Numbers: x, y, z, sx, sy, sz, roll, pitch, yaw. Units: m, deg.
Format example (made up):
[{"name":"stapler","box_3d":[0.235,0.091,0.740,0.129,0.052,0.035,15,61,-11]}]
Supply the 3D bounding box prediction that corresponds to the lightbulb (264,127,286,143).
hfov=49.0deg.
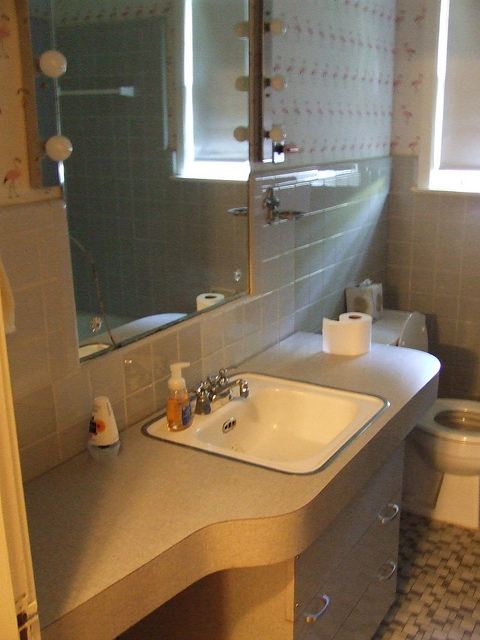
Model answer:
[{"name":"lightbulb","box_3d":[0.117,-0.626,1.771,0.059,0.042,0.045,8,15,19]}]

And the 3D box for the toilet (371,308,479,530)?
[{"name":"toilet","box_3d":[0.876,0.391,2.684,0.663,0.948,0.701,10,21,24]}]

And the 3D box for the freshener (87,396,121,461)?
[{"name":"freshener","box_3d":[-0.324,0.244,1.216,0.077,0.151,0.052,-4,14,-5]}]

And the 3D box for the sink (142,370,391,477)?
[{"name":"sink","box_3d":[0.141,0.282,1.495,0.366,0.159,0.380,6,17,34]}]

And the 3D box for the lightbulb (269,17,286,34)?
[{"name":"lightbulb","box_3d":[0.119,-0.964,1.732,0.051,0.043,0.070,-6,14,-15]}]

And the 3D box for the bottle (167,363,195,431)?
[{"name":"bottle","box_3d":[-0.162,0.178,1.396,0.069,0.186,0.180,-4,14,-6]}]

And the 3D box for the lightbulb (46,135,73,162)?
[{"name":"lightbulb","box_3d":[-0.349,-0.335,1.022,0.040,0.051,0.076,-3,13,-5]}]

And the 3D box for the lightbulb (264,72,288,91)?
[{"name":"lightbulb","box_3d":[0.132,-0.802,1.778,0.095,0.054,0.050,15,14,36]}]

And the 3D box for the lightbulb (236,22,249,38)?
[{"name":"lightbulb","box_3d":[0.005,-0.900,1.632,0.043,0.030,0.036,-29,56,-23]}]

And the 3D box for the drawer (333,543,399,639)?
[{"name":"drawer","box_3d":[0.411,0.898,1.664,0.078,0.293,0.331,32,29,17]}]
